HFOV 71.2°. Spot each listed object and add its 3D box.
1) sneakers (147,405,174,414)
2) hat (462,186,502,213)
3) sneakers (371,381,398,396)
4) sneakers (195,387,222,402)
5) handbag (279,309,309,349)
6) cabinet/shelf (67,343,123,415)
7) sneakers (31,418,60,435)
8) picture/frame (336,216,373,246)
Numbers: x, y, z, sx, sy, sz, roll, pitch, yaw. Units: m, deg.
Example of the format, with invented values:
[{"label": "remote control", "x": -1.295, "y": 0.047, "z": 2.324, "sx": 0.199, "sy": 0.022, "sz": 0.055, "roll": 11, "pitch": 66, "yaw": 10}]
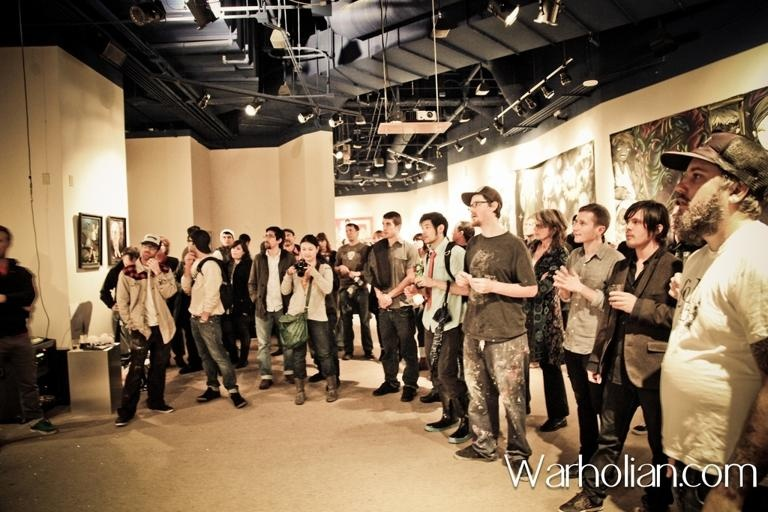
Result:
[{"label": "sneakers", "x": -2.848, "y": 1.957, "z": 6.839, "sx": 0.328, "sy": 0.132, "sz": 0.122, "roll": 1, "pitch": -9, "yaw": 4}, {"label": "hat", "x": 0.993, "y": -0.573, "z": 5.419, "sx": 0.380, "sy": 0.266, "sz": 0.286, "roll": -1, "pitch": 9, "yaw": 7}, {"label": "sneakers", "x": -0.016, "y": 1.810, "z": 7.245, "sx": 0.394, "sy": 0.166, "sz": 0.133, "roll": 3, "pitch": -12, "yaw": -26}, {"label": "sneakers", "x": -2.366, "y": 1.899, "z": 7.266, "sx": 0.127, "sy": 0.158, "sz": 0.374, "roll": -7, "pitch": -19, "yaw": 26}, {"label": "handbag", "x": -1.197, "y": 0.997, "z": 6.963, "sx": 0.367, "sy": 0.458, "sz": 0.262, "roll": -5, "pitch": -18, "yaw": 9}, {"label": "cabinet/shelf", "x": -3.733, "y": 1.590, "z": 6.882, "sx": 0.438, "sy": 0.820, "sz": 0.843, "roll": -1, "pitch": -4, "yaw": -11}, {"label": "sneakers", "x": -4.029, "y": 2.038, "z": 6.394, "sx": 0.330, "sy": 0.147, "sz": 0.148, "roll": 3, "pitch": -4, "yaw": 0}, {"label": "picture/frame", "x": -0.843, "y": -0.810, "z": 16.500, "sx": 1.506, "sy": 1.314, "sz": 0.166, "roll": -1, "pitch": -15, "yaw": 4}]
